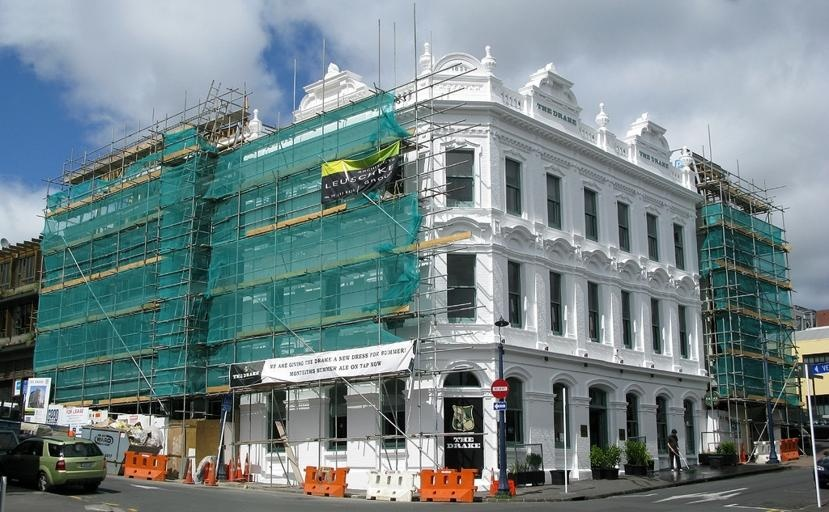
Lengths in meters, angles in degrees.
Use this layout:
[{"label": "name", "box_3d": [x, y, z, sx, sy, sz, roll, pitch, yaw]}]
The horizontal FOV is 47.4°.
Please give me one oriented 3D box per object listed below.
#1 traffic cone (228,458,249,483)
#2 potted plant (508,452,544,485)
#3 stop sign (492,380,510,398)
[{"label": "traffic cone", "box_3d": [-10.910, 13.273, 58.370, 1.321, 1.265, 0.908, 4, -23, -11]}, {"label": "potted plant", "box_3d": [6.197, 12.103, 53.545, 1.667, 1.407, 0.665, 12, -27, -34]}, {"label": "stop sign", "box_3d": [4.402, 6.883, 49.502, 0.831, 1.050, 0.842, 1, -22, -3]}]
